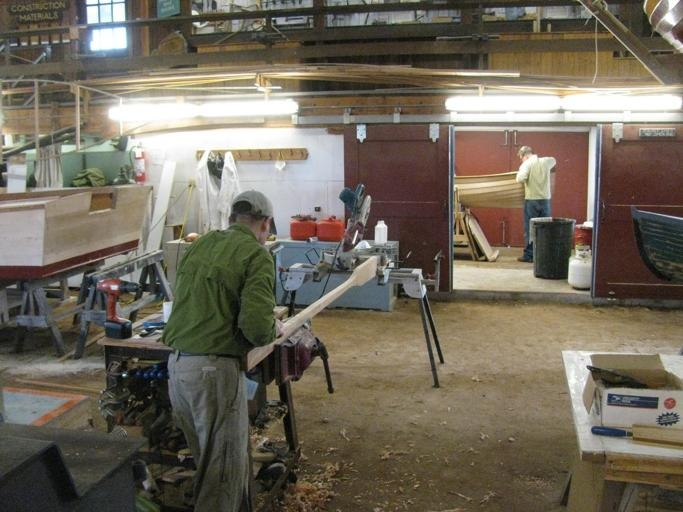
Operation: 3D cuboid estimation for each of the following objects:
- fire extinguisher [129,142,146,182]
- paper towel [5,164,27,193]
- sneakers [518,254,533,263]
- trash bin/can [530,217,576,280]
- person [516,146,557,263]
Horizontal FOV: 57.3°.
[{"bbox_3d":[-3.174,-1.436,9.787,0.201,0.576,0.440,-3,14,-12],"label":"fire extinguisher"},{"bbox_3d":[-5.446,-1.337,10.514,0.332,0.455,1.071,-7,16,-26],"label":"paper towel"},{"bbox_3d":[3.425,0.054,11.755,0.255,0.125,0.113,4,6,4],"label":"sneakers"},{"bbox_3d":[3.429,-0.119,10.311,0.591,0.974,0.492,6,15,25],"label":"trash bin/can"},{"bbox_3d":[3.568,-0.952,11.636,0.925,2.081,0.601,-2,0,-27],"label":"person"}]
